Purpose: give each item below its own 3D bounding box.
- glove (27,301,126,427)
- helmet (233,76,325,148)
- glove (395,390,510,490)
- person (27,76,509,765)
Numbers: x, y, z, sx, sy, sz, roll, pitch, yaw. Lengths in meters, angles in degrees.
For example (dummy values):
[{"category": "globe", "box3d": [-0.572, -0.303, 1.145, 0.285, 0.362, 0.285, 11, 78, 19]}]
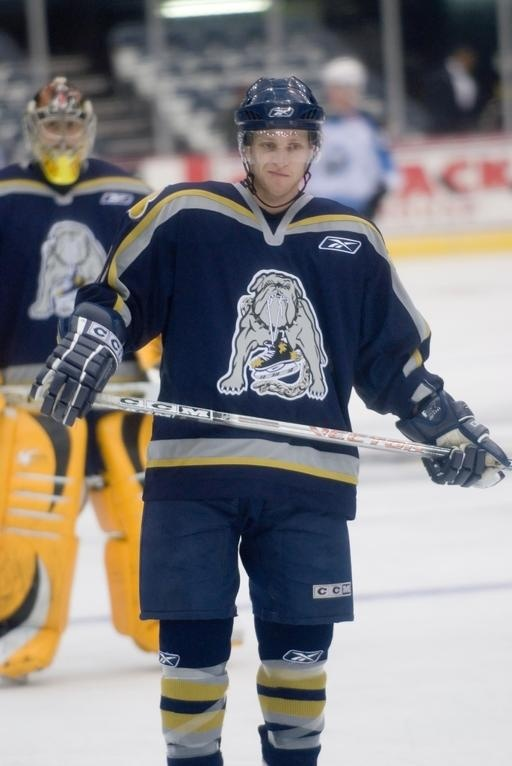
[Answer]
[{"category": "glove", "box3d": [-0.281, -0.035, 1.444, 0.133, 0.202, 0.084, 26, -13, -4]}, {"category": "helmet", "box3d": [0.037, -0.483, 1.581, 0.129, 0.128, 0.148, 1, 7, -1]}, {"category": "glove", "box3d": [0.388, 0.117, 1.797, 0.162, 0.243, 0.094, -46, 7, -4]}, {"category": "person", "box3d": [0.035, 0.060, 1.545, 0.835, 1.238, 0.373, -3, 7, -13]}]
